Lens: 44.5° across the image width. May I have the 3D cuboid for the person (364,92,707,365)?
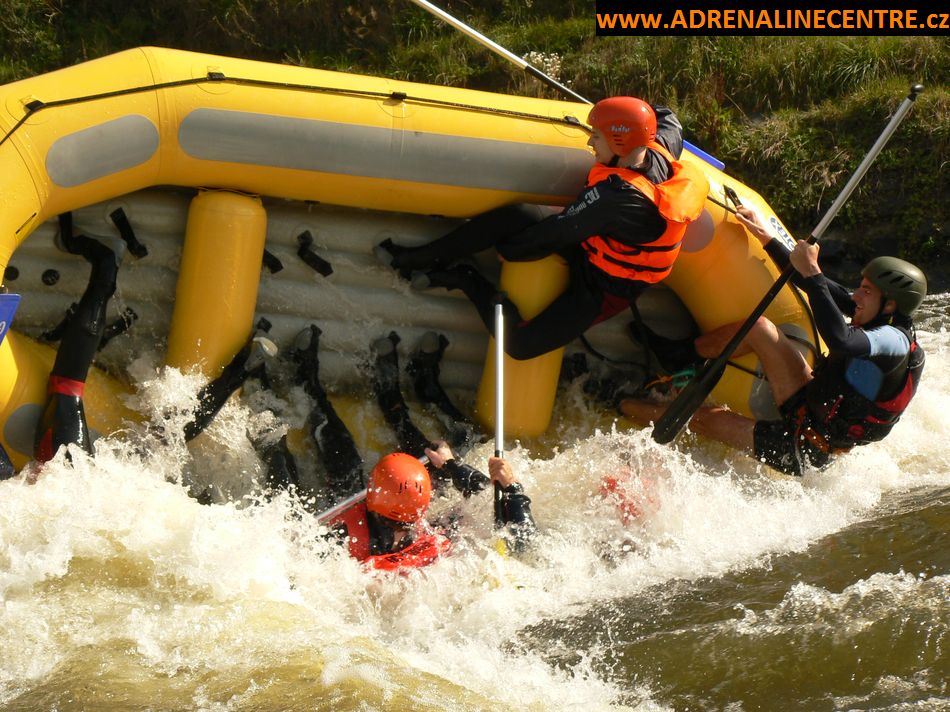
[{"bbox_3d":[0.380,-0.817,6.353,1.842,1.213,1.181,-3,41,-9],"label":"person"}]

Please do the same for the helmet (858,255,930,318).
[{"bbox_3d":[2.229,-0.387,6.185,0.360,0.266,0.269,18,14,-3],"label":"helmet"}]

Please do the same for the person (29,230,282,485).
[{"bbox_3d":[-2.075,-0.014,6.191,0.908,1.195,0.350,16,-16,-28],"label":"person"}]

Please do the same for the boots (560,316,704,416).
[{"bbox_3d":[0.972,0.066,7.016,0.703,0.561,0.238,5,-16,20],"label":"boots"}]

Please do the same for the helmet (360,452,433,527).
[{"bbox_3d":[-0.389,0.660,5.664,0.320,0.308,0.410,0,43,-26],"label":"helmet"}]

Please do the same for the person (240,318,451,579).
[{"bbox_3d":[-0.585,0.398,5.974,0.467,0.689,1.523,-9,65,-57],"label":"person"}]

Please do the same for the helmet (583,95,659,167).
[{"bbox_3d":[0.779,-1.194,6.048,0.341,0.304,0.280,18,37,20],"label":"helmet"}]
